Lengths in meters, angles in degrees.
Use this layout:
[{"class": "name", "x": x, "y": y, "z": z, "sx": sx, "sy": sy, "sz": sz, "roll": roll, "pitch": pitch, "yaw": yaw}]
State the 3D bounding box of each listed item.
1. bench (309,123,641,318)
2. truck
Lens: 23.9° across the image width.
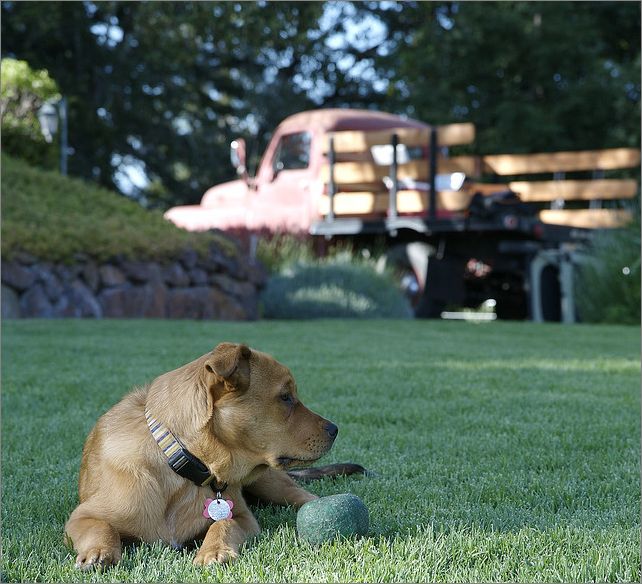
[{"class": "bench", "x": 1.877, "y": -0.845, "z": 18.323, "sx": 4.073, "sy": 2.190, "sz": 2.374, "roll": 2, "pitch": 0, "yaw": -28}, {"class": "truck", "x": 0.879, "y": -1.053, "z": 18.804, "sx": 4.921, "sy": 2.641, "sz": 2.879, "roll": 4, "pitch": 4, "yaw": 31}]
